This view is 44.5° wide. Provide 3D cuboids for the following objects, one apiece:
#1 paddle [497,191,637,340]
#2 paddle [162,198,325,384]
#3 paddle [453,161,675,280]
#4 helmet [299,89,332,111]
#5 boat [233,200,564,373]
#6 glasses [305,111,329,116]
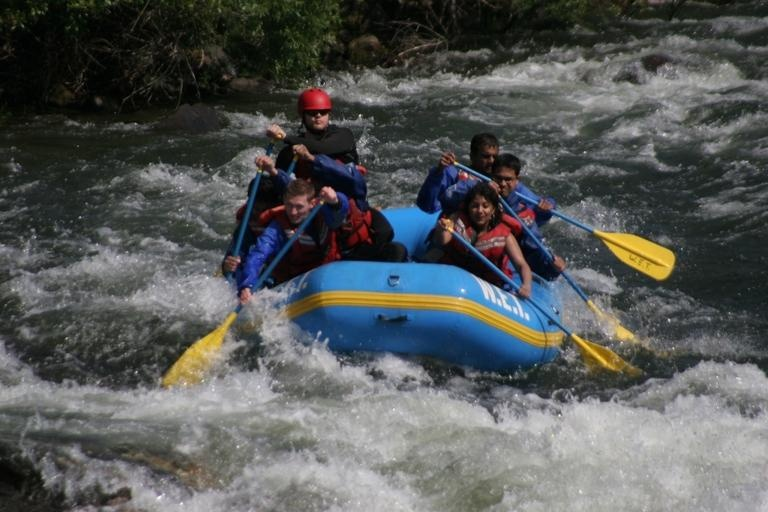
[{"bbox_3d":[2.493,0.207,12.859,2.806,0.363,0.224,47,35,21],"label":"paddle"},{"bbox_3d":[-1.785,0.538,12.174,0.340,0.141,3.142,34,66,12],"label":"paddle"},{"bbox_3d":[2.583,-0.440,13.308,3.574,0.490,0.154,30,5,5],"label":"paddle"},{"bbox_3d":[-0.906,-2.030,12.277,0.408,0.293,0.268,-1,25,-10],"label":"helmet"},{"bbox_3d":[0.595,0.538,11.596,2.438,0.835,1.757,13,14,-29],"label":"boat"},{"bbox_3d":[-0.894,-1.868,12.260,0.324,0.099,0.096,0,24,-6],"label":"glasses"}]
